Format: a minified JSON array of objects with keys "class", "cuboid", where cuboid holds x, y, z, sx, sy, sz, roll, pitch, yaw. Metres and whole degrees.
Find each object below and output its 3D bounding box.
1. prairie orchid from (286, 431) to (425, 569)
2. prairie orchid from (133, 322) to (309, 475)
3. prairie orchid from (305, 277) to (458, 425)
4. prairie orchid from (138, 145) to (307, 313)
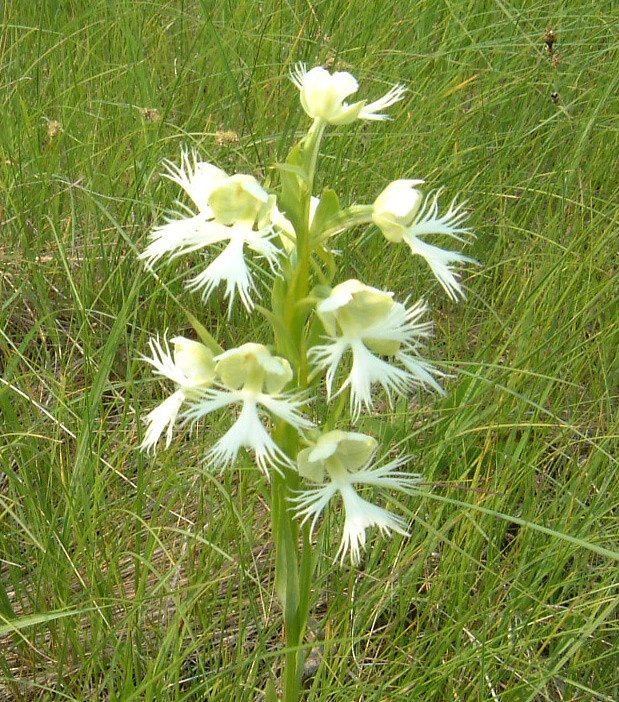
[{"class":"prairie orchid","cuboid":[0.050,0.206,1.252,0.149,0.096,0.255,-6,62,-7]},{"class":"prairie orchid","cuboid":[-0.122,0.082,1.200,0.181,0.096,0.260,-26,64,-11]},{"class":"prairie orchid","cuboid":[0.071,-0.049,1.150,0.177,0.109,0.257,17,17,-5]},{"class":"prairie orchid","cuboid":[-0.106,-0.226,1.188,0.232,0.105,0.236,33,7,19]}]
